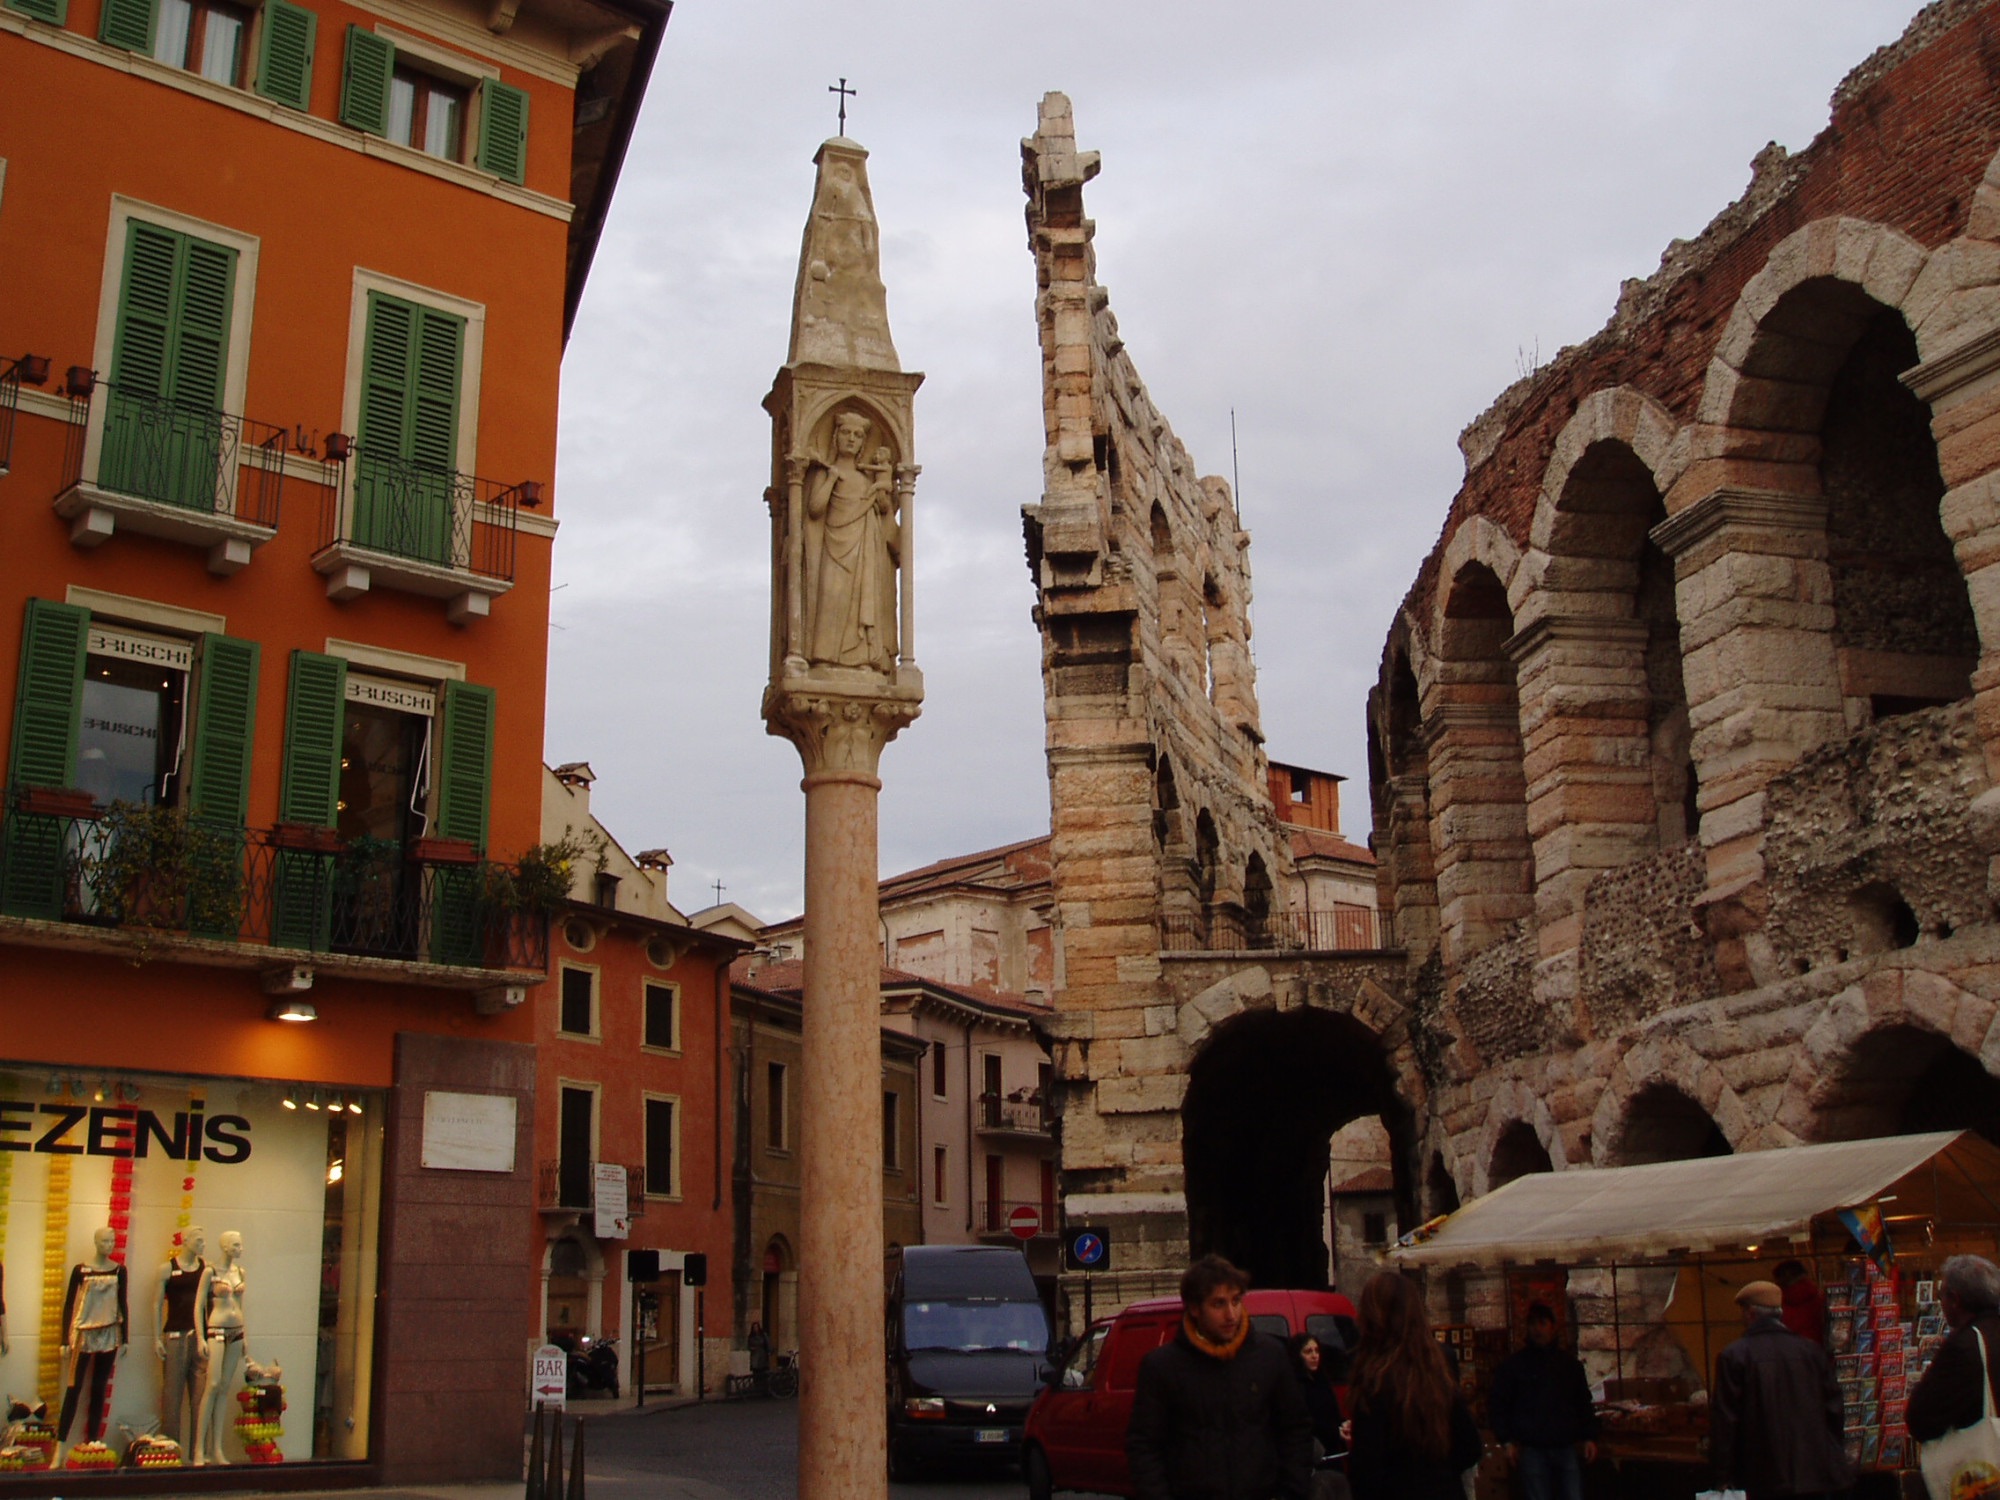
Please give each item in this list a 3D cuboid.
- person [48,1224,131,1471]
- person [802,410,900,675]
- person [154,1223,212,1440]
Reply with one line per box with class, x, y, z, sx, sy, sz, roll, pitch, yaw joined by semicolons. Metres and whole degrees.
person;-7.579;4.896;18.407;0.520;1.684;0.324;6;-22;-23
person;-0.951;-1.345;14.361;0.644;1.738;0.341;2;-21;-13
person;-6.988;5.010;18.738;0.376;1.730;0.308;5;-22;-20
